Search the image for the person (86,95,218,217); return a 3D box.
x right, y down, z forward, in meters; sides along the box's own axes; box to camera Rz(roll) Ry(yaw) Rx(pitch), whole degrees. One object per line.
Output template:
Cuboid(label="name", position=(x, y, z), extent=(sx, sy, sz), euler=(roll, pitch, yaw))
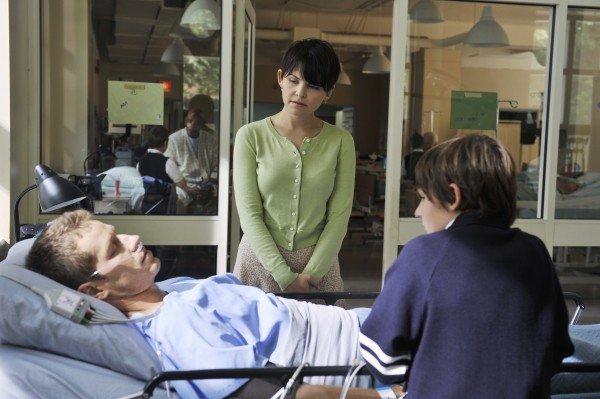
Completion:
Cuboid(label="person", position=(-0.993, -0.272, 5.526), extent=(0.886, 1.155, 0.549), euler=(3, 5, -2))

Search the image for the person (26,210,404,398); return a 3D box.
Cuboid(label="person", position=(-0.568, 0.605, 4.326), extent=(1.592, 0.698, 0.943), euler=(4, 11, 0))

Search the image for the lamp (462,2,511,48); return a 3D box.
Cuboid(label="lamp", position=(1.256, -1.147, 5.587), extent=(0.238, 0.234, 0.272), euler=(-1, 3, 0))

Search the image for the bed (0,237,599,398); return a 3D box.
Cuboid(label="bed", position=(0.179, 0.676, 4.253), extent=(2.491, 0.707, 1.185), euler=(0, 6, -8))
